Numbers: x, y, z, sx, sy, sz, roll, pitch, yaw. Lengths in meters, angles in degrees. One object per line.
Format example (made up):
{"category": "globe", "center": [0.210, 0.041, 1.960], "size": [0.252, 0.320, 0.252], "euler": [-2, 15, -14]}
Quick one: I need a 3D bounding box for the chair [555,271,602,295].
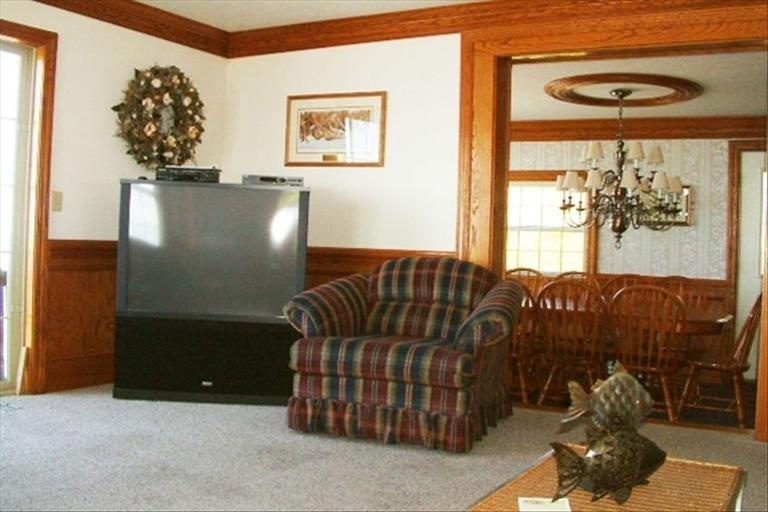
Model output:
{"category": "chair", "center": [2.095, 0.304, 6.386], "size": [0.281, 0.310, 0.238], "euler": [-3, -11, 23]}

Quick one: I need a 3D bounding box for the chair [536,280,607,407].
{"category": "chair", "center": [1.819, 0.778, 5.669], "size": [0.649, 1.240, 1.423], "euler": [4, 6, 19]}

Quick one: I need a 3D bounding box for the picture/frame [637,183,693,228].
{"category": "picture/frame", "center": [3.726, -0.679, 7.867], "size": [0.074, 0.564, 0.711], "euler": [-19, 17, -34]}

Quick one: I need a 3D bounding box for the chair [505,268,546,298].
{"category": "chair", "center": [1.491, 0.294, 6.237], "size": [0.422, 0.456, 0.356], "euler": [0, -10, 3]}

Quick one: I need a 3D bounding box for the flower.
{"category": "flower", "center": [-2.047, -1.255, 5.383], "size": [0.792, 0.946, 0.296], "euler": [-1, 7, -22]}

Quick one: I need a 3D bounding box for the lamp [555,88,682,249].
{"category": "lamp", "center": [2.953, -1.055, 7.404], "size": [1.674, 1.822, 1.542], "euler": [1, 5, 2]}

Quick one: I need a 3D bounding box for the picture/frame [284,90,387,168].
{"category": "picture/frame", "center": [-0.467, -1.178, 5.618], "size": [1.117, 0.704, 0.035], "euler": [-10, 32, -36]}

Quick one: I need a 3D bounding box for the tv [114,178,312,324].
{"category": "tv", "center": [-1.366, -0.057, 5.332], "size": [2.169, 1.306, 1.075], "euler": [1, -4, 1]}

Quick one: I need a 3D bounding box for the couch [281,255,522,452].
{"category": "couch", "center": [0.167, 0.673, 4.530], "size": [1.700, 1.015, 1.323], "euler": [3, 7, 25]}
